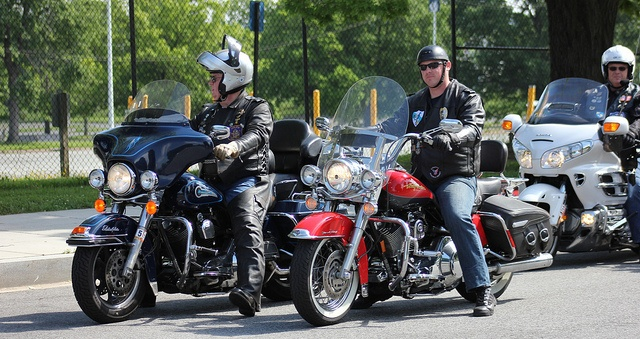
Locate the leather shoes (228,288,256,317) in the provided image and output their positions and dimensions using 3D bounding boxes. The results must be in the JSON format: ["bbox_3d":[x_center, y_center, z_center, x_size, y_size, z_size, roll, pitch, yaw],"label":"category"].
[{"bbox_3d":[-1.059,1.886,9.885,0.240,0.490,0.207,-18,36,36],"label":"leather shoes"}]

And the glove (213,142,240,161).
[{"bbox_3d":[-1.285,-0.259,9.823,0.378,0.221,0.165,-10,17,-37],"label":"glove"}]
